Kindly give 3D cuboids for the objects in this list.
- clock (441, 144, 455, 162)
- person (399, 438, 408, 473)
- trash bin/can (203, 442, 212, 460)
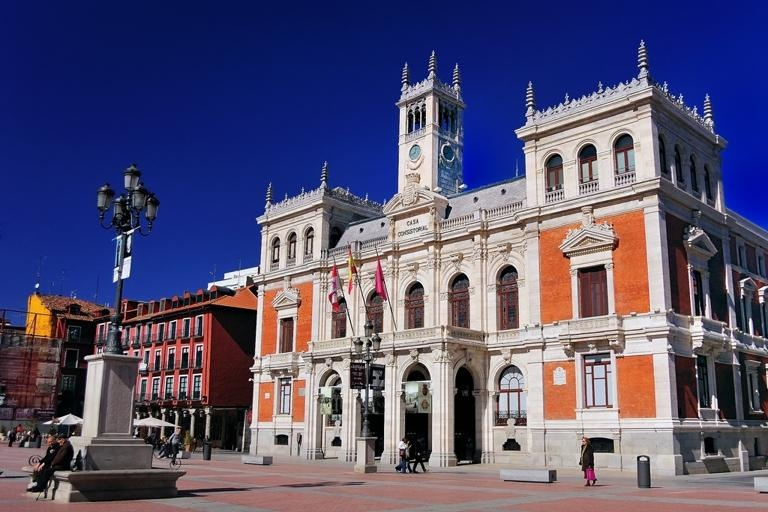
[{"bbox_3d":[6.116,-9.963,70.175,1.610,1.530,0.353,9,-6,-43],"label":"clock"},{"bbox_3d":[1.165,12.433,45.224,0.566,2.010,0.974,0,-20,0],"label":"person"},{"bbox_3d":[-13.157,14.551,54.313,0.431,1.323,0.976,4,-20,-10],"label":"trash bin/can"}]
